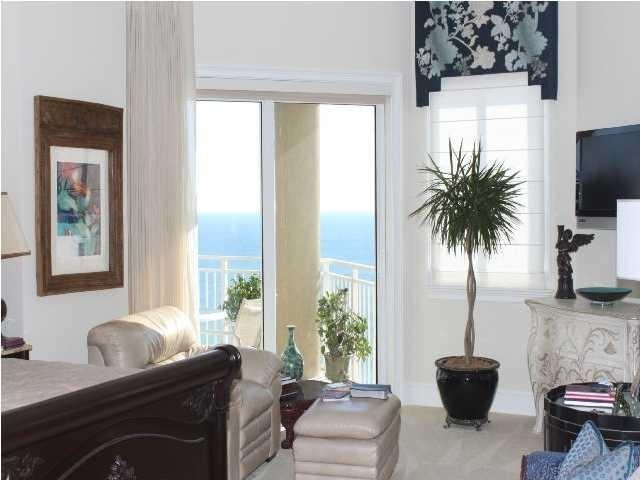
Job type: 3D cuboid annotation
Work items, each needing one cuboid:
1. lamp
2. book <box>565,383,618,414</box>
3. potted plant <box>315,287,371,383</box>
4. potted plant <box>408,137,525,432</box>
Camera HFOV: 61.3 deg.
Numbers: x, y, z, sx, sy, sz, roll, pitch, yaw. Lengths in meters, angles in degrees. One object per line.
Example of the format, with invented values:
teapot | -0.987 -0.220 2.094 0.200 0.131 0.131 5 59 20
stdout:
lamp | -2.053 0.211 3.634 0.167 1.069 0.617 -2 3 -31
book | 1.540 0.892 3.080 0.176 0.073 0.186 1 -3 18
potted plant | 0.206 0.931 5.080 0.498 0.808 0.421 -6 2 -7
potted plant | 1.218 0.317 4.554 0.868 2.404 0.827 1 3 21
